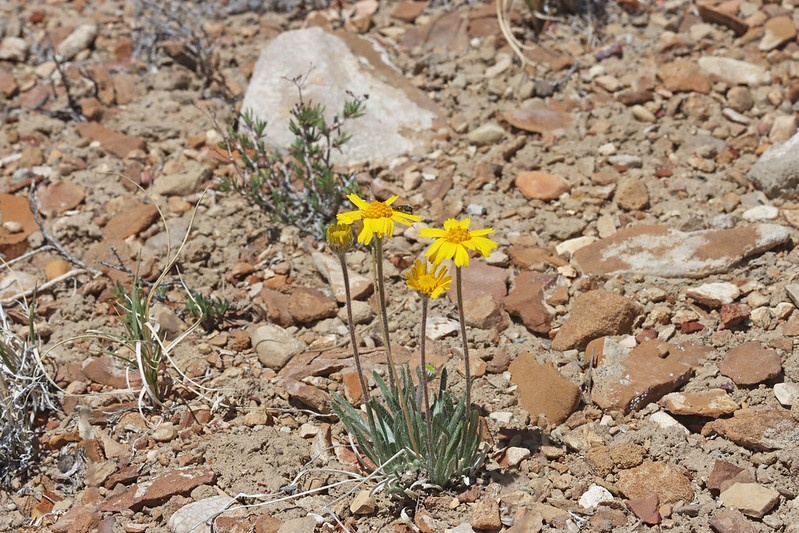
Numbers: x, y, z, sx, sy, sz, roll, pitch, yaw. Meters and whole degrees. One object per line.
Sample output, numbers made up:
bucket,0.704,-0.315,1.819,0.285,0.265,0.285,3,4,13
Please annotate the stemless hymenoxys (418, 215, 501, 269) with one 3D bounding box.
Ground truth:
stemless hymenoxys,0.321,-0.134,5.190,0.429,0.427,0.143,13,66,-25

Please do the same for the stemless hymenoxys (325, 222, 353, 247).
stemless hymenoxys,-0.346,-0.178,5.240,0.138,0.139,0.160,-8,68,-5

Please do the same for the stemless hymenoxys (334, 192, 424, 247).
stemless hymenoxys,-0.130,-0.218,5.321,0.386,0.172,0.376,8,53,5

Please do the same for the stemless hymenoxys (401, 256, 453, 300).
stemless hymenoxys,0.211,0.086,5.244,0.249,0.255,0.090,34,64,11
